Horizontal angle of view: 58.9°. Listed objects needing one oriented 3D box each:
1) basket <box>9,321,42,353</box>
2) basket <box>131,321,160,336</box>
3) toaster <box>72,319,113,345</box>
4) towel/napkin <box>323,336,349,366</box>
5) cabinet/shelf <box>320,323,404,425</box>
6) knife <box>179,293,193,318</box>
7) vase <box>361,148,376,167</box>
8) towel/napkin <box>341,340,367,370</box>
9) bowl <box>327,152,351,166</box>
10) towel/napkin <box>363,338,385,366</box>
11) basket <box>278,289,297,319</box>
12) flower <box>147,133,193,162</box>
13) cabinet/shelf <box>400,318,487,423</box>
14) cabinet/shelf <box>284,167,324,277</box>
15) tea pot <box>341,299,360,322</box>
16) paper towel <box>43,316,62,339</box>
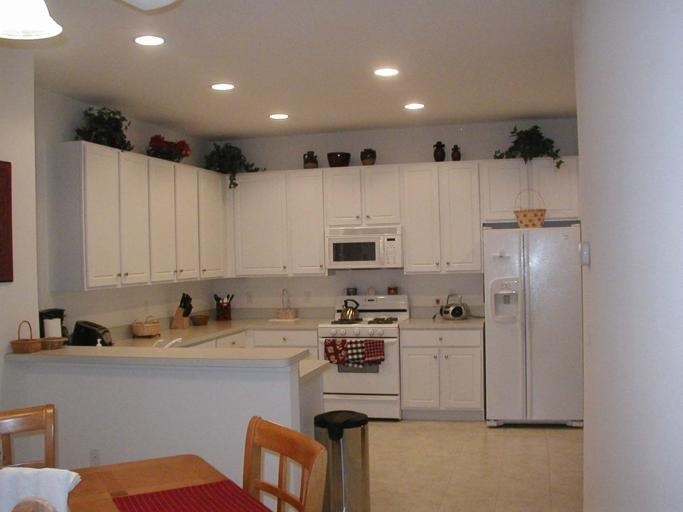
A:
[{"bbox_3d":[-1.929,0.497,3.747,0.158,0.217,0.196,0,0,10],"label":"basket"},{"bbox_3d":[-1.722,0.630,5.287,0.237,0.144,0.182,-3,3,-22],"label":"basket"},{"bbox_3d":[-1.909,0.584,4.589,0.420,0.187,0.222,1,4,40],"label":"toaster"},{"bbox_3d":[-0.054,0.881,5.598,0.348,0.361,0.037,-1,-3,19],"label":"towel/napkin"},{"bbox_3d":[0.201,1.162,5.969,0.772,0.902,0.634,-3,-8,11],"label":"cabinet/shelf"},{"bbox_3d":[-1.491,0.471,5.788,0.107,0.283,0.106,6,-8,-2],"label":"knife"},{"bbox_3d":[0.257,-0.983,6.026,0.180,0.197,0.165,1,9,8],"label":"vase"},{"bbox_3d":[0.081,0.899,5.555,0.243,0.237,0.068,1,-1,15],"label":"towel/napkin"},{"bbox_3d":[-0.038,-0.957,6.066,0.161,0.107,0.164,1,3,0],"label":"bowl"},{"bbox_3d":[0.294,0.887,5.643,0.224,0.242,0.061,2,-2,1],"label":"towel/napkin"},{"bbox_3d":[-0.583,0.500,6.383,0.192,0.311,0.234,-2,3,3],"label":"basket"},{"bbox_3d":[-1.602,-0.923,5.390,0.294,0.166,0.282,5,3,-35],"label":"flower"},{"bbox_3d":[1.009,1.137,5.868,0.810,0.915,0.571,-3,-13,21],"label":"cabinet/shelf"},{"bbox_3d":[-0.376,-0.345,6.093,0.369,1.026,0.099,-1,3,20],"label":"cabinet/shelf"},{"bbox_3d":[0.074,0.546,6.111,0.133,0.215,0.221,-4,-8,32],"label":"tea pot"},{"bbox_3d":[-1.961,0.477,4.087,0.127,0.149,0.129,1,4,4],"label":"paper towel"}]
